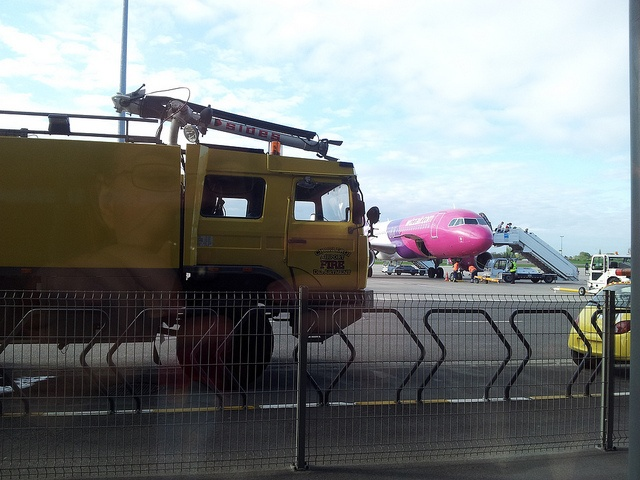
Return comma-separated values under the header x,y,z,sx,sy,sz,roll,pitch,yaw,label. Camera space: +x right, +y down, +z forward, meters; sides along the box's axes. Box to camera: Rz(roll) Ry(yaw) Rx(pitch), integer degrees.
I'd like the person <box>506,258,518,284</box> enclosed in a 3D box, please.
x,y,z,sx,sy,sz,roll,pitch,yaw,label
11.545,1.945,39.803,0.388,1.407,1.359,2,3,22,person

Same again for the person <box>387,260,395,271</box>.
x,y,z,sx,sy,sz,roll,pitch,yaw,label
5.849,2.232,53.506,0.375,0.871,0.622,9,-2,-36,person

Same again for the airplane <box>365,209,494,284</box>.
x,y,z,sx,sy,sz,roll,pitch,yaw,label
6.166,-0.037,38.885,2.640,3.454,10.847,0,4,-20,airplane
